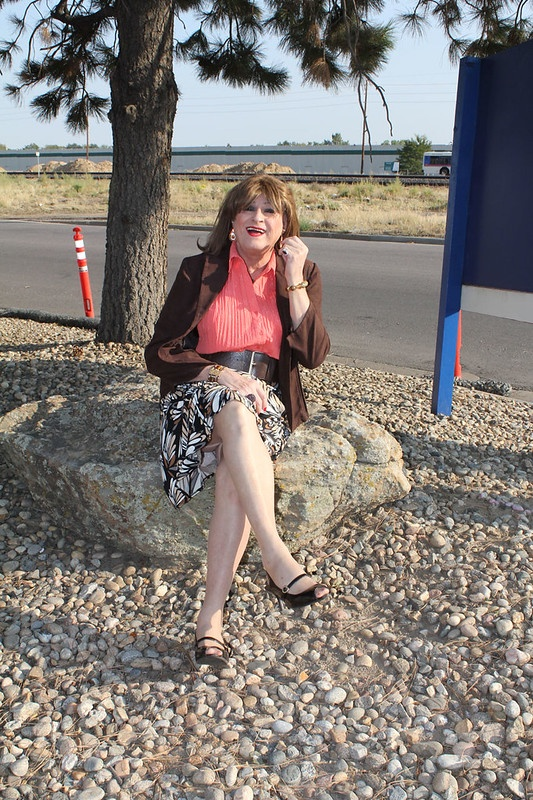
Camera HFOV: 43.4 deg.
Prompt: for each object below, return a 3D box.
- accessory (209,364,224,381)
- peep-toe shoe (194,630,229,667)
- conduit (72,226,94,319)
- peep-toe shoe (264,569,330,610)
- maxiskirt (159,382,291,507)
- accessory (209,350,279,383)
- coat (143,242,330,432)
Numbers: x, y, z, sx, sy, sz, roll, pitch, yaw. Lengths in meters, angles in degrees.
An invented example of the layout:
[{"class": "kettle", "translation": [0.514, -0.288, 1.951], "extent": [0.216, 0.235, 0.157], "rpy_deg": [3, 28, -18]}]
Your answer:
[{"class": "accessory", "translation": [-0.183, -0.101, 2.433], "extent": [0.037, 0.062, 0.059], "rpy_deg": [21, 33, 13]}, {"class": "peep-toe shoe", "translation": [-0.166, 0.776, 2.052], "extent": [0.096, 0.094, 0.094], "rpy_deg": [-2, 17, -7]}, {"class": "conduit", "translation": [-1.836, -1.291, 6.816], "extent": [0.095, 0.903, 0.094], "rpy_deg": [-6, 23, -7]}, {"class": "peep-toe shoe", "translation": [0.099, 0.618, 2.124], "extent": [0.108, 0.080, 0.203], "rpy_deg": [-11, 11, -41]}, {"class": "maxiskirt", "translation": [-0.153, 0.156, 2.466], "extent": [0.461, 0.483, 0.417], "rpy_deg": [-1, 17, -6]}, {"class": "accessory", "translation": [-0.089, -0.111, 2.596], "extent": [0.183, 0.088, 0.136], "rpy_deg": [16, 7, 21]}, {"class": "coat", "translation": [-0.099, -0.263, 2.656], "extent": [0.654, 0.690, 0.439], "rpy_deg": [4, 16, -4]}]
